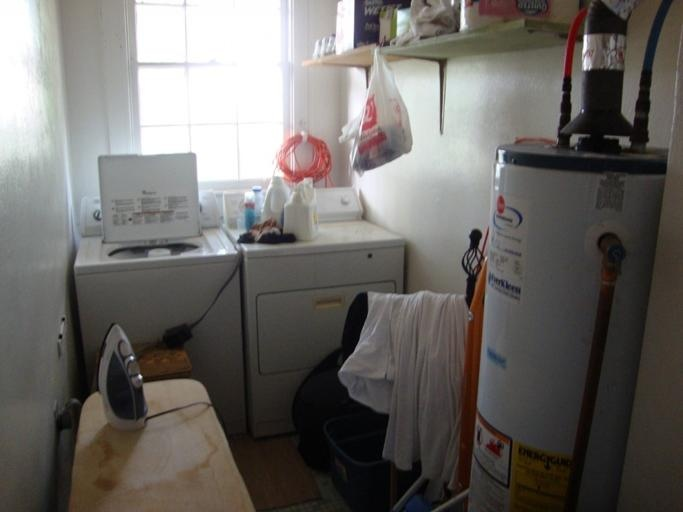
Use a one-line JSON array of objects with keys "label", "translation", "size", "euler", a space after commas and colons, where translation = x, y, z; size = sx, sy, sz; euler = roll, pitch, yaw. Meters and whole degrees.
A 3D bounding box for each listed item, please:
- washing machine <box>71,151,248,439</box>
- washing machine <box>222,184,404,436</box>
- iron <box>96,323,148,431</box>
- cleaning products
[{"label": "washing machine", "translation": [-0.908, 0.187, 3.025], "size": [0.801, 1.438, 1.001], "euler": [-6, 15, -23]}, {"label": "washing machine", "translation": [-0.202, 0.224, 3.093], "size": [0.718, 1.126, 0.800], "euler": [-5, 15, -21]}, {"label": "iron", "translation": [-0.696, 0.393, 1.764], "size": [0.142, 0.340, 0.177], "euler": [-4, 11, -23]}, {"label": "cleaning products", "translation": [-0.320, -0.279, 2.794], "size": [0.309, 0.270, 0.341], "euler": [-5, 17, 0]}]
